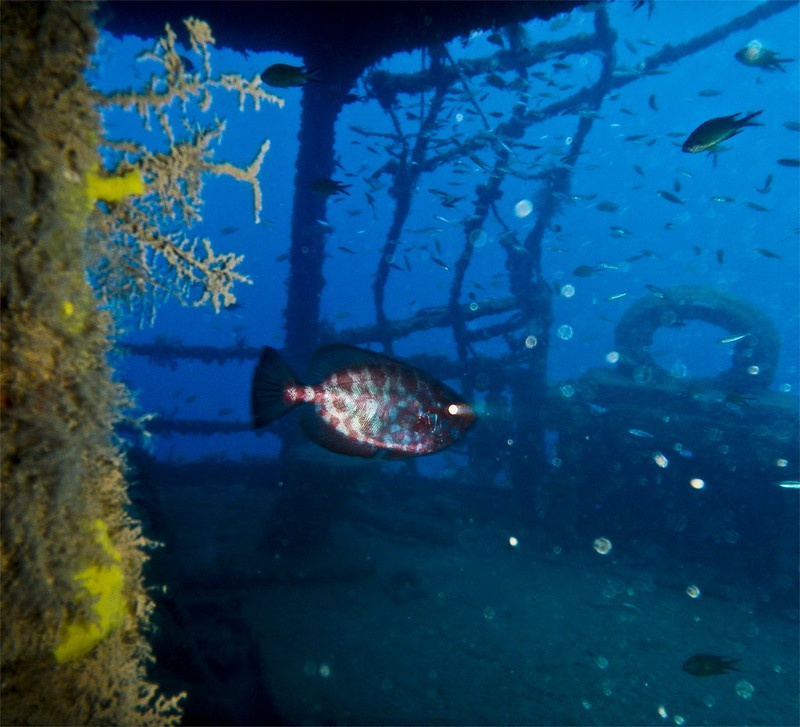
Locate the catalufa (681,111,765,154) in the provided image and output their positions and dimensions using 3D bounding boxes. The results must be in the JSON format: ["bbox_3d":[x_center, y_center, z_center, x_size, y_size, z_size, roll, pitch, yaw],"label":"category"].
[{"bbox_3d":[4.278,-3.119,9.874,0.734,0.477,1.125,0,5,1],"label":"catalufa"}]
